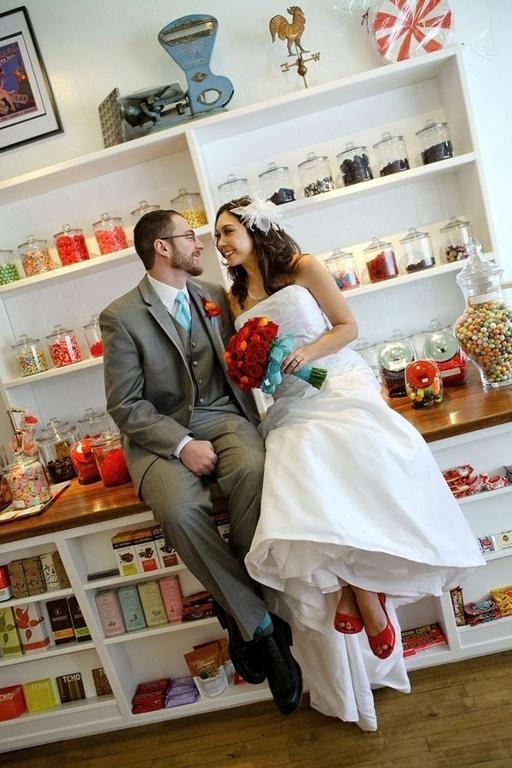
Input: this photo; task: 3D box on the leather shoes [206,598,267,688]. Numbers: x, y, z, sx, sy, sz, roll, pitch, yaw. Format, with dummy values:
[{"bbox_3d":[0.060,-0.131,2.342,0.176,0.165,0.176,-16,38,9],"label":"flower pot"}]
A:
[{"bbox_3d":[-0.044,0.756,1.611,0.062,0.282,0.146,-26,15,-37],"label":"leather shoes"}]
